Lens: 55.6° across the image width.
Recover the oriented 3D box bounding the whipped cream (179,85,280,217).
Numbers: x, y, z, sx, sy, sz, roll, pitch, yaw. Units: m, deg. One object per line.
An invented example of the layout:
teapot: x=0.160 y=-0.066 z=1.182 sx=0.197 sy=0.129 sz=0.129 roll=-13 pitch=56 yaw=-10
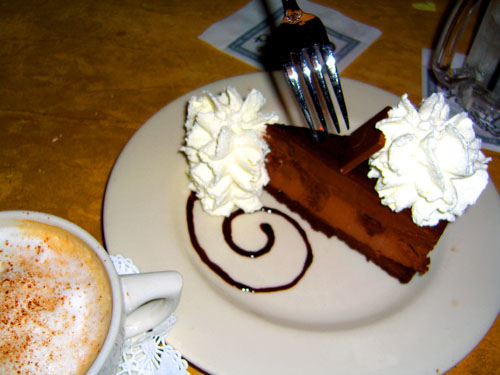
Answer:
whipped cream: x=-0.068 y=-0.113 z=1.454 sx=0.278 sy=0.162 sz=0.421 roll=9 pitch=100 yaw=20

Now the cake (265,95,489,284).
cake: x=0.361 y=-0.078 z=1.576 sx=0.645 sy=0.472 sz=0.498 roll=16 pitch=43 yaw=2

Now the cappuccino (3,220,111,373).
cappuccino: x=-0.431 y=0.254 z=1.062 sx=0.246 sy=0.124 sz=0.315 roll=1 pitch=69 yaw=-13
